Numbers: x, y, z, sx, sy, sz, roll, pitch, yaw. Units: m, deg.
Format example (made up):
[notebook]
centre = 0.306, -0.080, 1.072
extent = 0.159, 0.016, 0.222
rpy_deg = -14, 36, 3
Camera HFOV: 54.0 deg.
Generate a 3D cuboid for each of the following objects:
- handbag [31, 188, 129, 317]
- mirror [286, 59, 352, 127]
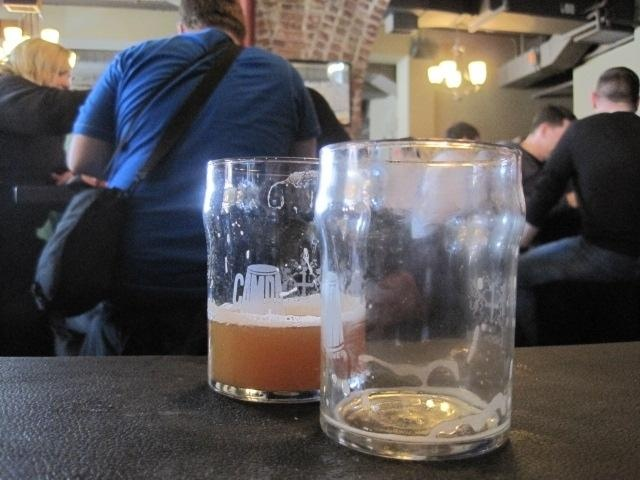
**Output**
[handbag]
centre = -0.687, 0.047, 1.798
extent = 0.289, 0.384, 0.138
rpy_deg = 12, 4, -29
[mirror]
centre = 0.037, -0.566, 2.449
extent = 0.253, 0.249, 0.060
rpy_deg = 0, -4, -21
